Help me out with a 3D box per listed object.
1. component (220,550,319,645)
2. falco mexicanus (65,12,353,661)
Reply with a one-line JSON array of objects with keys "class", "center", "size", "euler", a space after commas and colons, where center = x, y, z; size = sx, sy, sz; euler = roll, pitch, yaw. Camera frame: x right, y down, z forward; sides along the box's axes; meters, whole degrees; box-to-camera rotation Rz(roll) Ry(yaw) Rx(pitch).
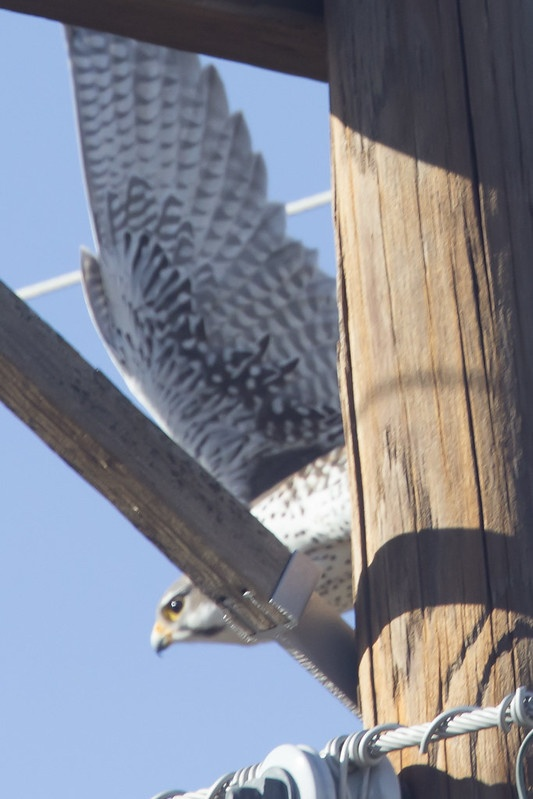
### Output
[{"class": "component", "center": [0.005, 0.203, 2.543], "size": [0.056, 0.091, 0.086], "euler": [33, -65, -28]}, {"class": "falco mexicanus", "center": [-0.103, -0.024, 3.531], "size": [0.435, 0.799, 0.923], "euler": [-5, 5, -11]}]
